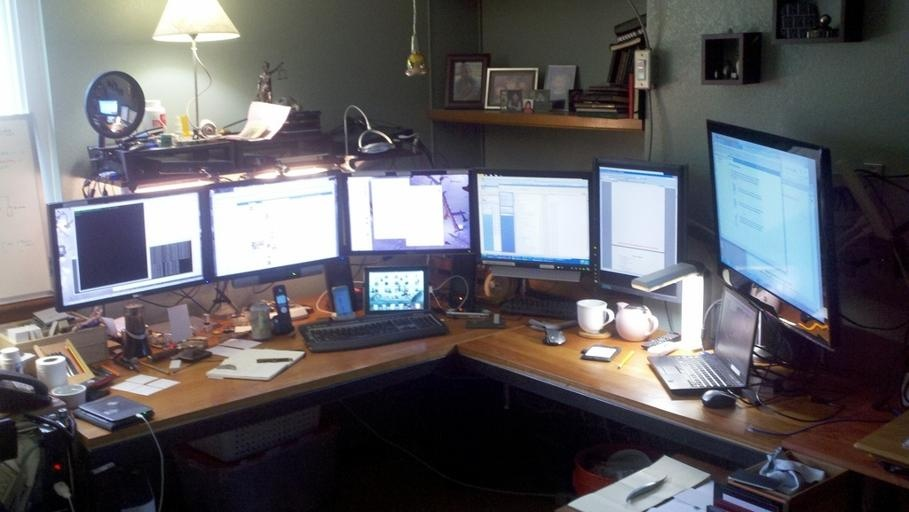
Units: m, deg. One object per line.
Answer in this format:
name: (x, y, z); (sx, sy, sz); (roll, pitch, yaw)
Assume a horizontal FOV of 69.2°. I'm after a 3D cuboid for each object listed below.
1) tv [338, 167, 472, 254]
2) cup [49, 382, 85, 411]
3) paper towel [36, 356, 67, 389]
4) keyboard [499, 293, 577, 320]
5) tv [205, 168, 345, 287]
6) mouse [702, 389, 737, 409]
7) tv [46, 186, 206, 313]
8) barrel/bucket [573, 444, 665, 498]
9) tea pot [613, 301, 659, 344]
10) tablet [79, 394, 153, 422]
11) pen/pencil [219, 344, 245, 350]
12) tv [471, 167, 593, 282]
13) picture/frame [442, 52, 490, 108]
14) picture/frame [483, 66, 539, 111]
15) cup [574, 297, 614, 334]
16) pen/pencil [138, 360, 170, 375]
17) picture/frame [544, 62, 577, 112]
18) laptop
tv: (-0.271, -0.258, 3.663); (0.567, 0.332, 0.041); (0, 10, 1)
cup: (-1.693, 0.609, 2.895); (0.124, 0.063, 0.113); (3, 19, -1)
paper towel: (-1.826, 0.518, 3.004); (0.125, 0.120, 0.172); (-12, 17, -29)
keyboard: (0.475, 0.282, 3.611); (0.237, 0.046, 0.186); (9, 10, 34)
tv: (-0.979, -0.176, 3.527); (0.727, 0.451, 0.090); (-8, 19, -25)
mouse: (1.110, 0.597, 2.782); (0.132, 0.037, 0.067); (-6, 21, -16)
tv: (-1.628, -0.042, 3.262); (0.728, 0.417, 0.062); (-11, 13, -28)
barrel/bucket: (0.802, 1.062, 3.392); (0.386, 0.150, 0.353); (-2, 8, 0)
tea pot: (0.909, 0.335, 3.418); (0.172, 0.150, 0.228); (-10, 21, -35)
tablet: (-1.454, 0.658, 2.825); (0.325, 0.045, 0.149); (5, 16, 28)
pen/pencil: (-1.121, 0.461, 3.338); (0.097, 0.003, 0.015); (6, 30, 23)
tv: (0.424, -0.181, 3.571); (0.718, 0.521, 0.071); (3, 9, 18)
picture/frame: (0.088, -1.211, 4.547); (0.458, 0.466, 0.056); (3, -5, -1)
picture/frame: (0.377, -1.113, 4.397); (0.428, 0.310, 0.039); (1, -17, 11)
cup: (0.709, 0.310, 3.393); (0.225, 0.149, 0.173); (1, 1, 39)
pen/pencil: (-1.440, 0.538, 3.168); (0.129, 0.013, 0.016); (17, 37, 21)
picture/frame: (0.682, -1.103, 4.285); (0.207, 0.278, 0.290); (0, 15, 13)
laptop: (1.115, 0.426, 3.045); (0.469, 0.379, 0.521); (-2, 12, -4)
